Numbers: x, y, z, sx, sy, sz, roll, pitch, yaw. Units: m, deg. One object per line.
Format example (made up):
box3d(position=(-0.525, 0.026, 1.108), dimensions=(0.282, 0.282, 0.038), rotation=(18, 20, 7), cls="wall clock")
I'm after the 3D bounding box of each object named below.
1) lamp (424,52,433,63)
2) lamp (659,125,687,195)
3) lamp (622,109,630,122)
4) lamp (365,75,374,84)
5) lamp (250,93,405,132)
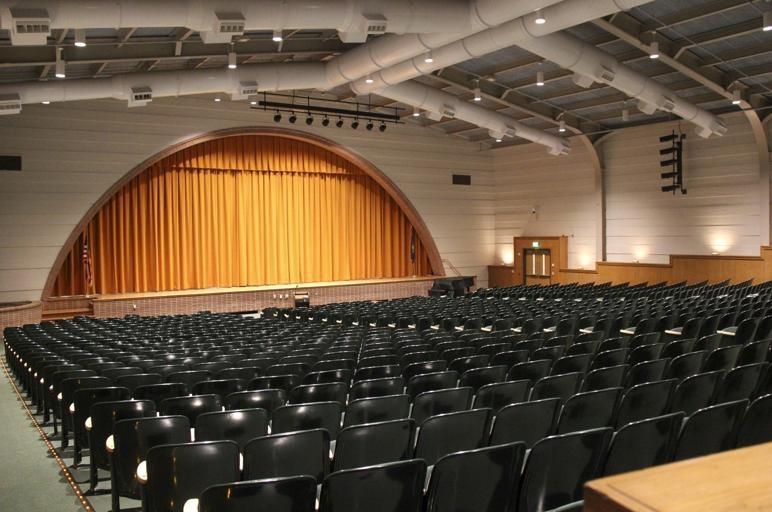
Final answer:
box3d(position=(1.142, -5.300, 14.008), dimensions=(0.190, 0.139, 0.177), rotation=(7, -10, -40), cls="lamp")
box3d(position=(11.569, -3.838, 21.364), dimensions=(0.904, 2.617, 0.950), rotation=(-1, 1, -40), cls="lamp")
box3d(position=(9.037, -5.399, 19.780), dimensions=(0.179, 0.496, 0.918), rotation=(0, 1, 31), cls="lamp")
box3d(position=(-0.504, -5.403, 16.088), dimensions=(0.213, 0.103, 0.183), rotation=(-1, 1, 10), cls="lamp")
box3d(position=(-2.409, -6.485, 23.535), dimensions=(6.635, 1.433, 1.136), rotation=(-1, 1, -30), cls="lamp")
